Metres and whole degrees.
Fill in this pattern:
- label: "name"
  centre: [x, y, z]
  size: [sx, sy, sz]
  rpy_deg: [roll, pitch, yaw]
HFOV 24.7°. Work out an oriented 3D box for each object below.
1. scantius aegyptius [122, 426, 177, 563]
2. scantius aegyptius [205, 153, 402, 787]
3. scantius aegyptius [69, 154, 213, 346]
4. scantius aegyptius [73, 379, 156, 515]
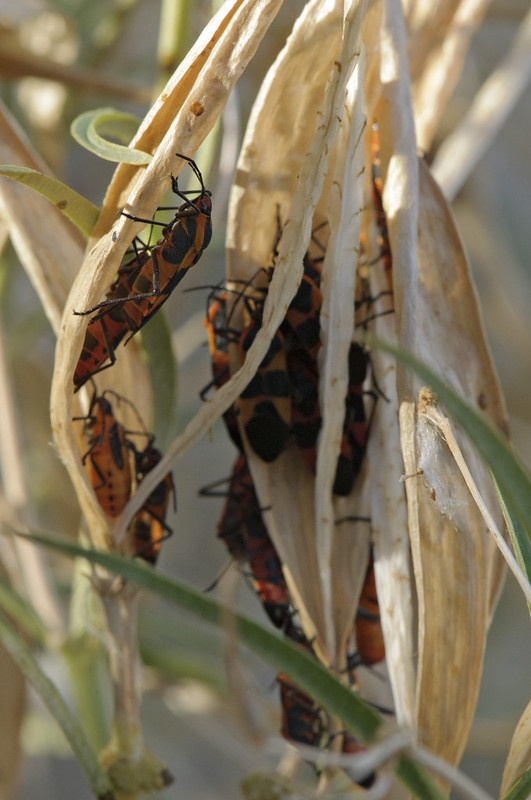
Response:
- label: "scantius aegyptius"
  centre: [-0.065, 0.055, 0.729]
  size: [0.020, 0.069, 0.050]
  rpy_deg: [-9, -22, 18]
- label: "scantius aegyptius"
  centre: [0.022, 0.028, 0.686]
  size: [0.151, 0.297, 0.068]
  rpy_deg: [-3, -2, 10]
- label: "scantius aegyptius"
  centre: [-0.067, -0.084, 0.675]
  size: [0.069, 0.133, 0.113]
  rpy_deg: [2, 24, -2]
- label: "scantius aegyptius"
  centre: [-0.091, 0.027, 0.733]
  size: [0.049, 0.021, 0.070]
  rpy_deg: [30, 38, -35]
